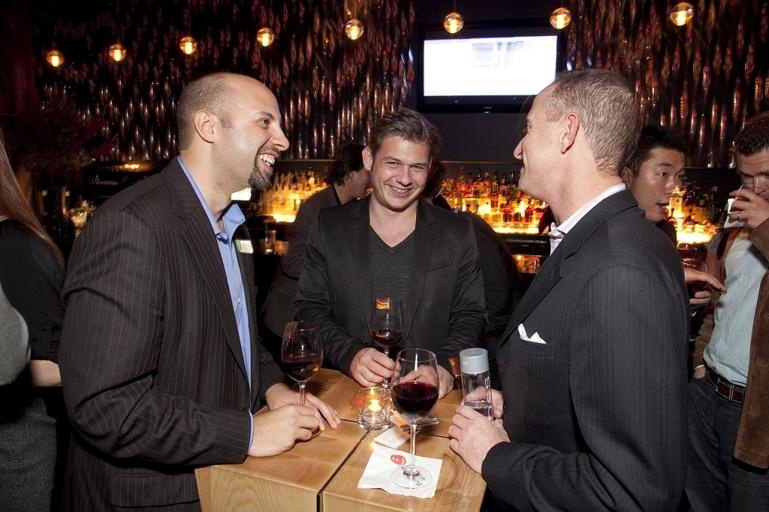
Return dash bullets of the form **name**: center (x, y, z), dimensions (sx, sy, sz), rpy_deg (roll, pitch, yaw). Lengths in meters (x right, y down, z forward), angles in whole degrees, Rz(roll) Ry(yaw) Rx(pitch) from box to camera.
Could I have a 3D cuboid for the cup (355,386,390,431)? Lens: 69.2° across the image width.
- **cup**: center (-0.039, 0.648, 2.359), dimensions (0.117, 0.117, 0.138), rpy_deg (1, -6, 0)
